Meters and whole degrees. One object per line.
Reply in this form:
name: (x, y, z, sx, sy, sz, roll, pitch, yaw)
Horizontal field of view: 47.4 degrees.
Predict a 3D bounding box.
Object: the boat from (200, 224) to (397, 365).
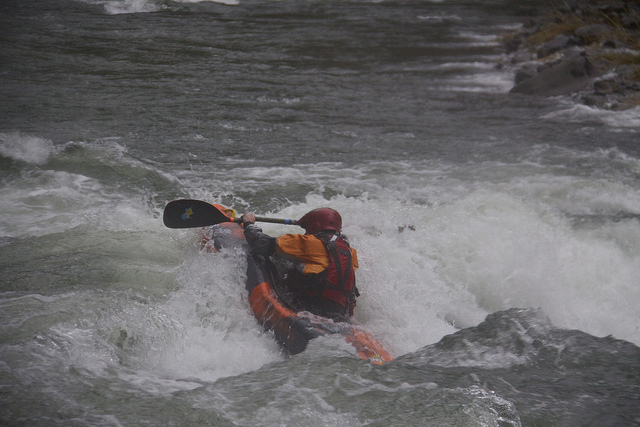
boat: (-0.505, 1.382, 11.942, 4.452, 0.554, 1.371, 27, 6, 34)
